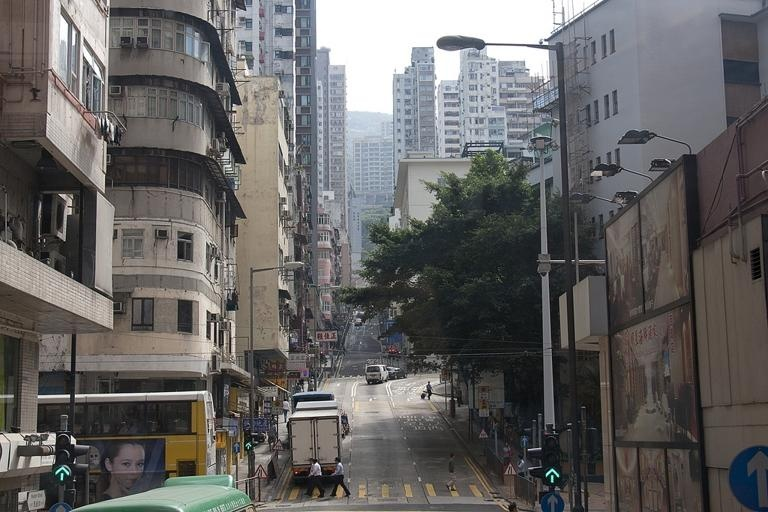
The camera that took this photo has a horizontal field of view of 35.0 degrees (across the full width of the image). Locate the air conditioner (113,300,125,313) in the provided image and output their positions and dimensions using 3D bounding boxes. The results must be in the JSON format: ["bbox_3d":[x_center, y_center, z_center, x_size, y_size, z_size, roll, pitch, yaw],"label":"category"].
[{"bbox_3d":[-14.727,2.834,67.658,0.603,0.701,0.351,1,-7,-18],"label":"air conditioner"}]

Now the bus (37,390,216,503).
[{"bbox_3d":[-12.923,8.969,58.668,8.768,5.676,3.505,1,11,-14],"label":"bus"}]

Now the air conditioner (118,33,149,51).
[{"bbox_3d":[-14.285,-12.293,69.528,1.608,0.798,0.451,3,0,4],"label":"air conditioner"}]

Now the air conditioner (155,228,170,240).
[{"bbox_3d":[-12.633,-1.263,69.220,0.874,0.794,0.494,3,0,-31],"label":"air conditioner"}]

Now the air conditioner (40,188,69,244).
[{"bbox_3d":[-13.341,-1.568,49.079,0.584,1.894,1.839,-1,-7,2],"label":"air conditioner"}]

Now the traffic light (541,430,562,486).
[{"bbox_3d":[6.196,7.669,45.231,0.775,2.058,0.770,2,0,16],"label":"traffic light"}]

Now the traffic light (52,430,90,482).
[{"bbox_3d":[-11.208,7.243,43.413,1.103,1.777,0.921,2,0,-17],"label":"traffic light"}]

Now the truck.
[{"bbox_3d":[-3.642,10.038,68.363,3.100,4.595,3.735,0,-9,-3],"label":"truck"}]

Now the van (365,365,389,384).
[{"bbox_3d":[-0.923,13.033,133.085,1.659,2.129,4.257,2,-1,12],"label":"van"}]
